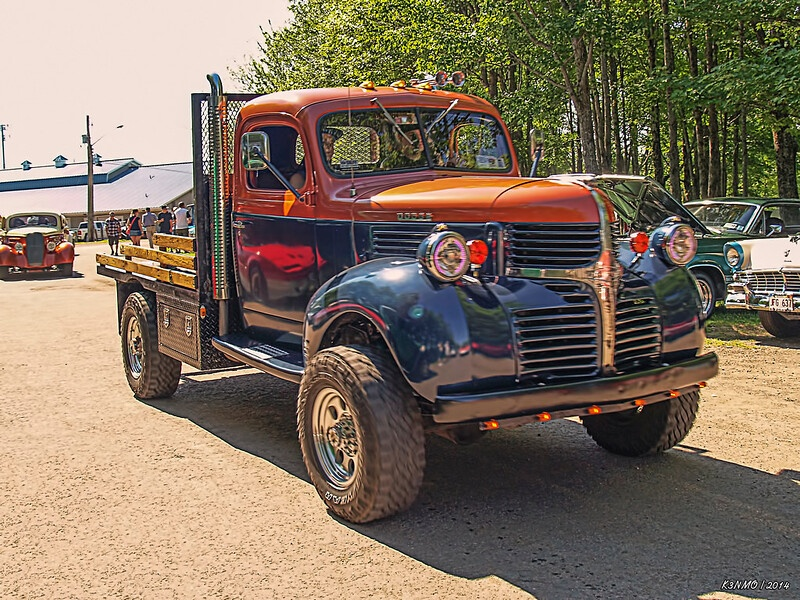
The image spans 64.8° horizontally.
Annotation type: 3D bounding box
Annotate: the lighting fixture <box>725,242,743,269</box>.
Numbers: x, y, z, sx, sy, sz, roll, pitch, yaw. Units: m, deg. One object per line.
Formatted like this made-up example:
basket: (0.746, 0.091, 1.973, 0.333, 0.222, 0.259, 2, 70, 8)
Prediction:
lighting fixture: (5.774, -0.782, 10.845, 0.363, 0.373, 0.167, -13, 1, -30)

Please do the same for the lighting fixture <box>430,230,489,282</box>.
lighting fixture: (0.398, -0.296, 4.191, 0.188, 0.331, 0.398, 7, 11, 42)

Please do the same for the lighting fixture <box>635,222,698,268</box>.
lighting fixture: (2.153, -0.444, 5.007, 0.410, 0.314, 0.290, -3, 6, -32)

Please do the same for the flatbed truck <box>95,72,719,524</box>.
flatbed truck: (-0.131, -0.409, 5.499, 2.520, 3.581, 4.585, -9, 12, -43)

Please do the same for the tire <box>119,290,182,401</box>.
tire: (-3.057, 0.561, 7.785, 0.498, 1.281, 1.492, -4, 12, -32)

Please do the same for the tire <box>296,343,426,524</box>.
tire: (-0.235, 0.904, 4.252, 0.410, 0.958, 0.992, -6, 51, -35)
